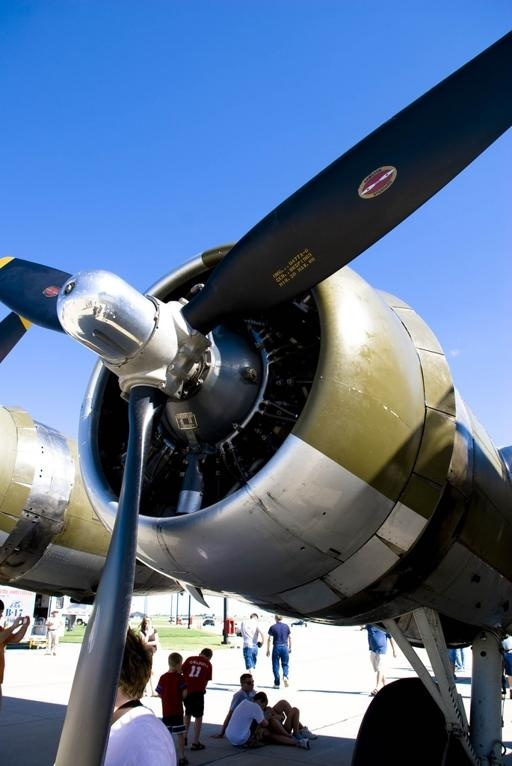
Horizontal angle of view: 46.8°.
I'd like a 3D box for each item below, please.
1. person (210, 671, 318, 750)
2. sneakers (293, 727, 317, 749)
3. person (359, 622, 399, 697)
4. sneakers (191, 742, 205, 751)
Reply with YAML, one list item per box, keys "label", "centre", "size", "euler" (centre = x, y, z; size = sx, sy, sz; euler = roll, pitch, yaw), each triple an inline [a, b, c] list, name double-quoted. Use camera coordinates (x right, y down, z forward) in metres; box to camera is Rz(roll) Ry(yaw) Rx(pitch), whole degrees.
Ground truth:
- label: "person"
  centre: [0.197, 4.010, 7.173]
  size: [1.110, 0.737, 0.443]
  euler: [16, -20, -17]
- label: "sneakers"
  centre: [0.535, 4.068, 6.755]
  size: [0.105, 0.133, 0.290]
  euler: [24, -34, -33]
- label: "person"
  centre: [2.079, 4.559, 10.240]
  size: [0.581, 1.518, 0.511]
  euler: [-3, 2, 29]
- label: "sneakers"
  centre: [-0.659, 4.090, 6.657]
  size: [0.168, 0.075, 0.079]
  euler: [7, -17, -24]
